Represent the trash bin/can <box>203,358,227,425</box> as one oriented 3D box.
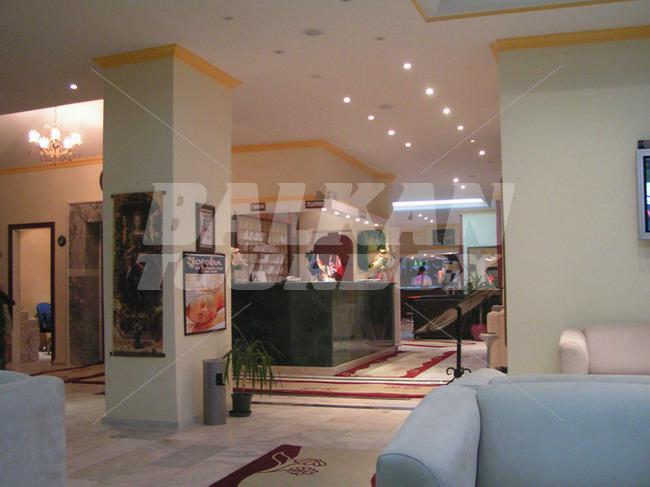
[{"bbox_3d":[-1.283,1.709,6.149,0.262,0.728,0.214,1,-3,-13],"label":"trash bin/can"}]
